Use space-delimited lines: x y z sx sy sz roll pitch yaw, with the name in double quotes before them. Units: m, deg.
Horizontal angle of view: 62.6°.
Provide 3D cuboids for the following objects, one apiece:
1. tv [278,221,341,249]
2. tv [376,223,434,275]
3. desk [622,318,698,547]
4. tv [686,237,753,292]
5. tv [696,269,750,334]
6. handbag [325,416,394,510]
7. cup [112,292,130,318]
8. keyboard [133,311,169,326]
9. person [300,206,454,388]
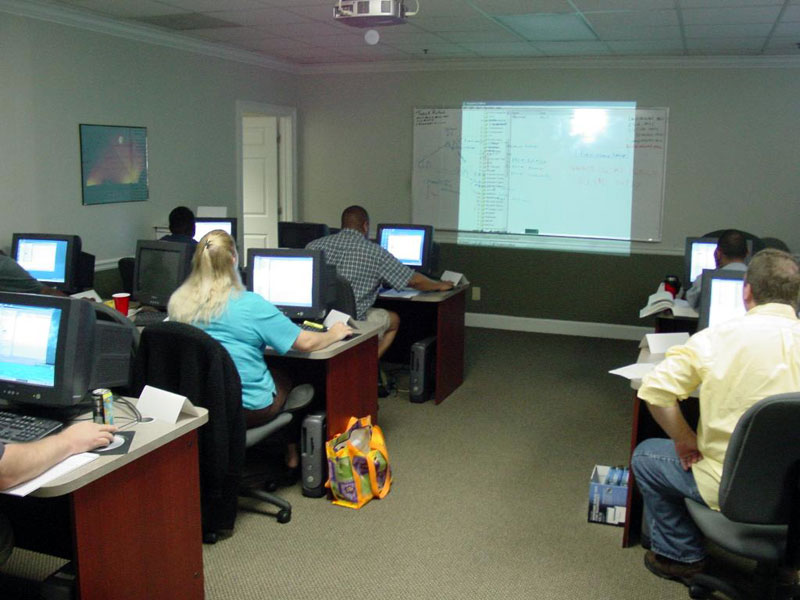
"tv" -0.828 -0.560 5.804 0.447 0.240 0.337 2 3 17
"tv" 0.037 -0.423 5.513 0.399 0.350 0.210 9 16 22
"desk" 1.245 0.665 3.132 0.360 0.688 1.036 0 7 23
"tv" 2.043 -0.237 4.195 0.202 0.385 0.396 -6 7 -39
"tv" 1.667 0.004 3.382 0.291 0.439 0.228 4 12 23
"handbag" -0.243 0.920 3.659 0.242 0.419 0.425 -6 4 30
"cup" -1.706 0.031 4.012 0.104 0.139 0.126 -3 11 -14
"keyboard" -1.608 0.113 4.191 0.237 0.059 0.236 1 8 -5
"person" -0.147 0.016 4.897 1.282 1.488 0.808 9 31 21
